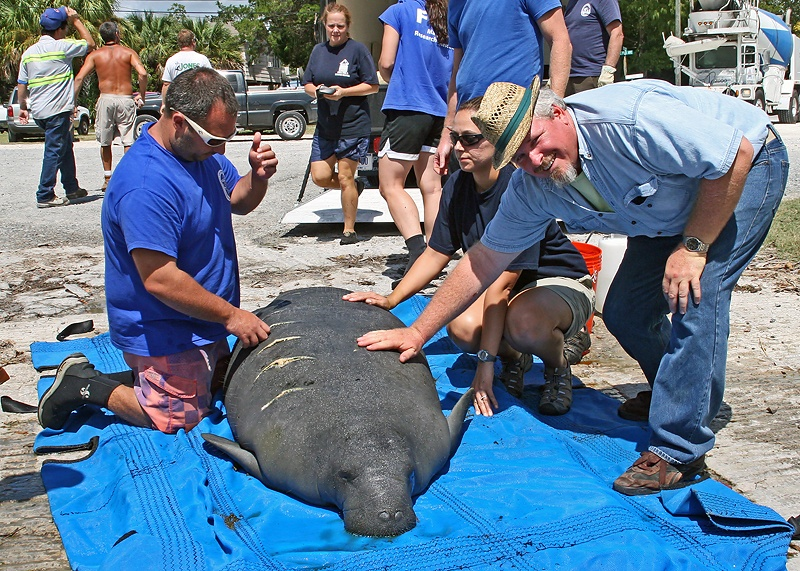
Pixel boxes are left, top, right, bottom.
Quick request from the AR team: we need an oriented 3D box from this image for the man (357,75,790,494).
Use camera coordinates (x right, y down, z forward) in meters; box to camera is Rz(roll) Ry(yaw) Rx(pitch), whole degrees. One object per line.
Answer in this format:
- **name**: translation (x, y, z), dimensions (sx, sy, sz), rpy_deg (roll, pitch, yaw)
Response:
- **man**: translation (1.073, -0.035, 4.385), dimensions (1.978, 1.901, 1.416), rpy_deg (-2, 4, -27)

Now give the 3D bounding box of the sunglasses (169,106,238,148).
- **sunglasses**: translation (-1.034, -0.829, 4.481), dimensions (0.178, 0.054, 0.169), rpy_deg (45, 18, -6)

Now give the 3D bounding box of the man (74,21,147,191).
- **man**: translation (-3.885, -2.330, 11.180), dimensions (1.080, 2.151, 0.562), rpy_deg (-1, 9, -7)

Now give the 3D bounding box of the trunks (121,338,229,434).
- **trunks**: translation (-1.358, 0.674, 4.798), dimensions (0.392, 0.478, 0.621), rpy_deg (5, 46, -25)

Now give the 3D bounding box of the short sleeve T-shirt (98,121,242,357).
- **short sleeve T-shirt**: translation (-1.245, -0.214, 4.600), dimensions (0.692, 1.133, 1.328), rpy_deg (5, 28, 2)

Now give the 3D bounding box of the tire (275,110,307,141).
- **tire**: translation (-2.716, -3.994, 20.877), dimensions (0.557, 0.555, 0.193), rpy_deg (-37, 31, 5)

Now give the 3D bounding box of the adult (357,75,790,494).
- **adult**: translation (0.998, -0.012, 4.354), dimensions (2.129, 1.894, 1.331), rpy_deg (-1, 3, -16)

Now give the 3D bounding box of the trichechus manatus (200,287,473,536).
- **trichechus manatus**: translation (-0.292, 0.624, 4.689), dimensions (1.341, 0.689, 2.050), rpy_deg (-8, 25, -16)

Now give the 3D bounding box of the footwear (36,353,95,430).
- **footwear**: translation (-1.873, 0.615, 4.716), dimensions (0.200, 0.493, 0.186), rpy_deg (21, -4, 36)
